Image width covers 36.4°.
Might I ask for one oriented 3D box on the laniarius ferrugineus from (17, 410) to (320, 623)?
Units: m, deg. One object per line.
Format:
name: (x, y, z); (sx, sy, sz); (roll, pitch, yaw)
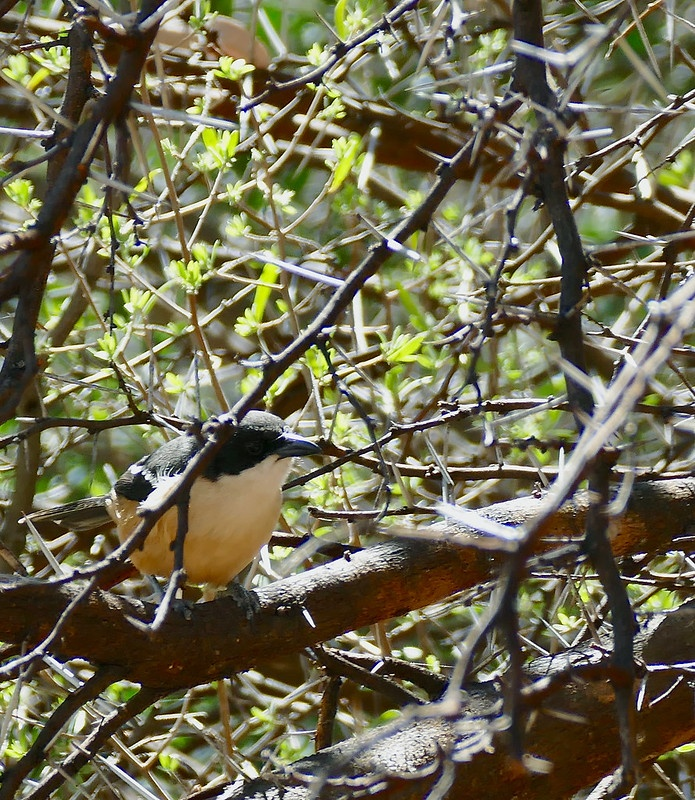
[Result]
laniarius ferrugineus: (-0.511, 0.376, 3.960); (0.605, 0.659, 1.360); (3, -1, -37)
